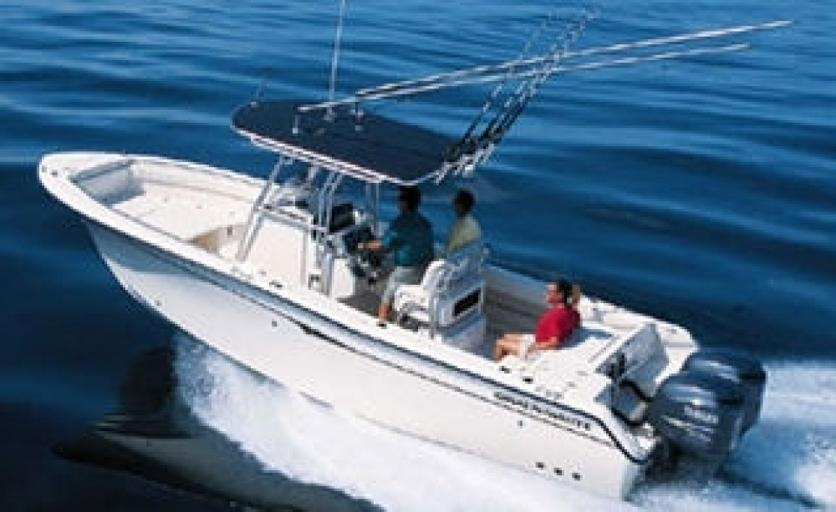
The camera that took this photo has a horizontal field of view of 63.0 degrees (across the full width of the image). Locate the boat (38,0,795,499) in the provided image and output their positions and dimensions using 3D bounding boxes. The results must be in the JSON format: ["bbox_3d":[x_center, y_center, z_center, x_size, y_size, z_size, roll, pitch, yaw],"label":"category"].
[{"bbox_3d":[-0.439,-0.317,9.356,10.463,4.616,3.026,18,30,10],"label":"boat"}]
